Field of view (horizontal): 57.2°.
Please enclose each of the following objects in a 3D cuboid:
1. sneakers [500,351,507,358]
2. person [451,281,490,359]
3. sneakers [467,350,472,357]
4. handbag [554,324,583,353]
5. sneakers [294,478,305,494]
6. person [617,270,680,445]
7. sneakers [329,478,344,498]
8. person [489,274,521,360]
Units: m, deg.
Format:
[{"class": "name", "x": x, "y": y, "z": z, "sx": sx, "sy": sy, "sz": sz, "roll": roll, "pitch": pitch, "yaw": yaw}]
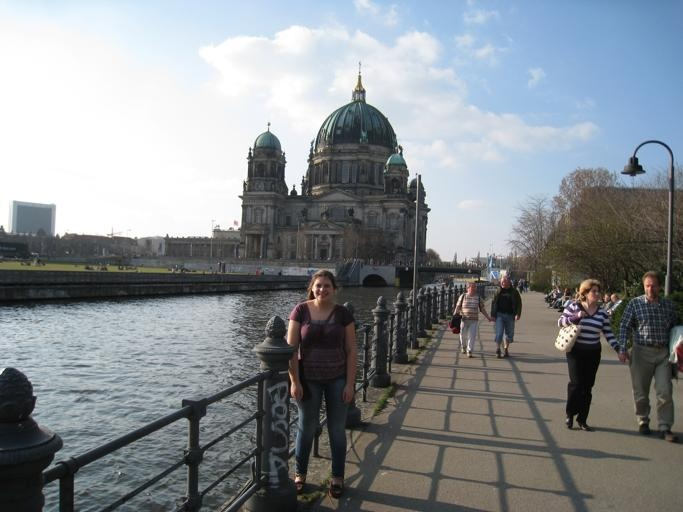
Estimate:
[{"class": "sneakers", "x": 4.140, "y": 2.497, "z": 15.869, "sx": 0.117, "sy": 0.131, "sz": 0.227, "roll": -1, "pitch": -6, "yaw": 12}, {"class": "person", "x": 3.392, "y": 1.615, "z": 16.403, "sx": 0.745, "sy": 1.424, "sz": 2.140, "roll": 1, "pitch": 1, "yaw": 13}, {"class": "sneakers", "x": 3.215, "y": 2.463, "z": 15.707, "sx": 0.081, "sy": 0.149, "sz": 0.142, "roll": -1, "pitch": -13, "yaw": 9}, {"class": "handbag", "x": 3.502, "y": 1.267, "z": 9.709, "sx": 0.265, "sy": 0.378, "sz": 0.400, "roll": 1, "pitch": 1, "yaw": -35}, {"class": "sneakers", "x": -0.515, "y": 2.796, "z": 7.686, "sx": 0.086, "sy": 0.277, "sz": 0.075, "roll": 3, "pitch": 15, "yaw": 1}, {"class": "person", "x": 4.686, "y": 1.488, "z": 9.513, "sx": 0.776, "sy": 2.410, "sz": 0.367, "roll": 1, "pitch": 1, "yaw": 26}, {"class": "sneakers", "x": -0.060, "y": 2.828, "z": 7.648, "sx": 0.179, "sy": 0.143, "sz": 0.412, "roll": 2, "pitch": -4, "yaw": 0}, {"class": "person", "x": 4.252, "y": 1.488, "z": 16.208, "sx": 0.714, "sy": 1.702, "sz": 2.056, "roll": 1, "pitch": 1, "yaw": 14}]
